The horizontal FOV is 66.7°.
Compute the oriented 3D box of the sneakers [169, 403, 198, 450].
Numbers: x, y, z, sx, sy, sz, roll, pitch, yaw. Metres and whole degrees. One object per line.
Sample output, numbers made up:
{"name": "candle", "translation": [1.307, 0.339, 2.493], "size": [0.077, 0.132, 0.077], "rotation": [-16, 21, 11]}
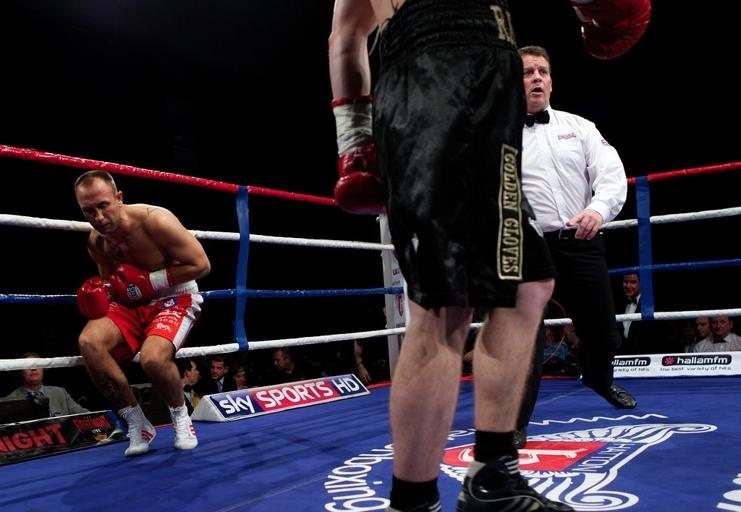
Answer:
{"name": "sneakers", "translation": [-0.982, 0.882, 2.953], "size": [0.128, 0.204, 0.253], "rotation": [-3, -2, -19]}

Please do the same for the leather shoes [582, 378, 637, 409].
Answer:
{"name": "leather shoes", "translation": [1.401, 0.777, 3.230], "size": [0.342, 0.117, 0.128], "rotation": [24, -17, 4]}

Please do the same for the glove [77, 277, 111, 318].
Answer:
{"name": "glove", "translation": [-1.492, 0.230, 3.013], "size": [0.146, 0.219, 0.078], "rotation": [-3, -3, -12]}

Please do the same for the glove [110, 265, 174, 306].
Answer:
{"name": "glove", "translation": [-1.281, 0.154, 3.108], "size": [0.350, 0.220, 0.165], "rotation": [-3, -2, -14]}

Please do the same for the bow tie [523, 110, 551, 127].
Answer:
{"name": "bow tie", "translation": [0.889, -0.726, 3.002], "size": [0.121, 0.042, 0.137], "rotation": [16, 31, 40]}

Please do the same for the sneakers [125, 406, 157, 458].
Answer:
{"name": "sneakers", "translation": [-1.201, 0.884, 2.894], "size": [0.148, 0.225, 0.221], "rotation": [-2, -2, -24]}
